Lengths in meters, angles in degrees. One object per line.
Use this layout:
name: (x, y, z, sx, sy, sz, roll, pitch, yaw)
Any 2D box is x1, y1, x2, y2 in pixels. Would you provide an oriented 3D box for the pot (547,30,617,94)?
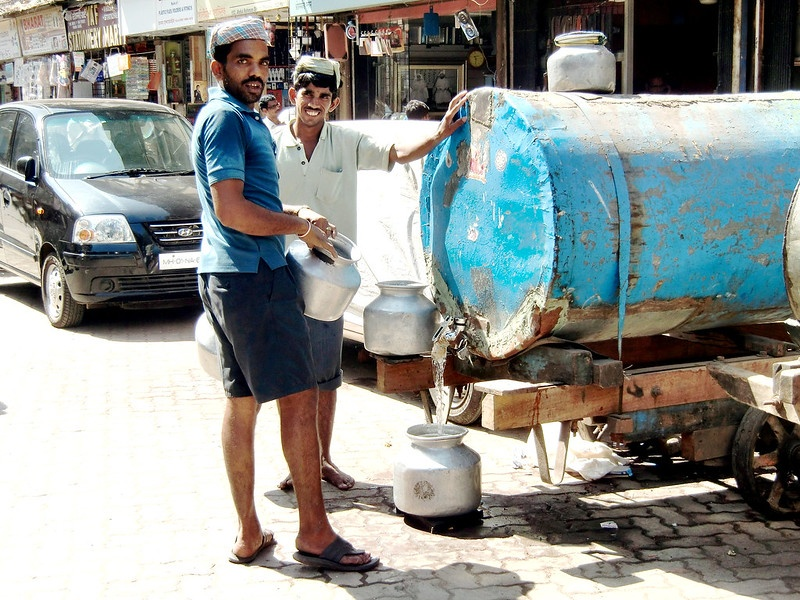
pot: (0.991, -1.302, 4.410, 0.406, 0.322, 0.382, -1, 5, 0)

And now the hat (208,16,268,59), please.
hat: (-0.751, -1.227, 3.677, 0.263, 0.200, 0.304, -4, 13, -14)

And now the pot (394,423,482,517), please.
pot: (0.193, 0.868, 4.019, 0.475, 0.380, 0.443, 0, -2, 0)

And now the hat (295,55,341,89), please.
hat: (-0.469, -1.265, 4.394, 0.205, 0.119, 0.215, -2, 13, -24)

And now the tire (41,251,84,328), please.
tire: (-3.575, -0.086, 8.397, 0.253, 0.732, 0.761, -2, 16, -38)

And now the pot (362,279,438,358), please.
pot: (0.011, 0.094, 4.192, 0.413, 0.329, 0.398, 0, 1, 0)

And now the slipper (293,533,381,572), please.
slipper: (-0.284, 1.195, 3.752, 0.408, 0.136, 0.159, 0, 6, 7)

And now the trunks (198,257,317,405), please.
trunks: (-0.660, 0.144, 3.629, 0.540, 0.647, 0.267, -1, 13, -1)

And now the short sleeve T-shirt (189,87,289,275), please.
short sleeve T-shirt: (-0.740, -0.538, 3.594, 0.408, 0.841, 0.401, -3, 13, -11)

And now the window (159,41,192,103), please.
window: (-5.012, -5.080, 17.610, 0.665, 1.402, 0.140, -15, 31, -35)
